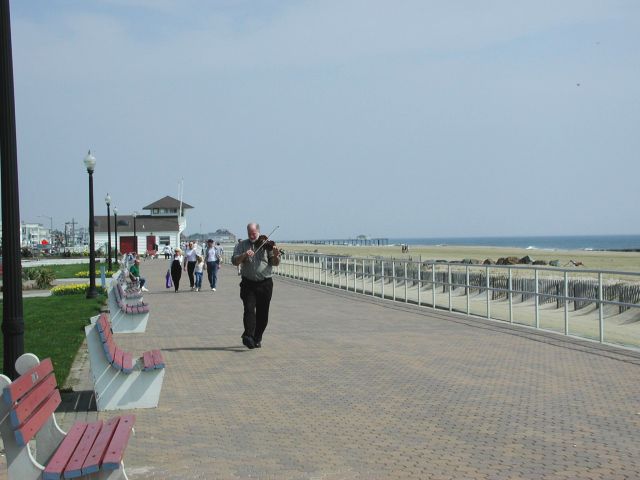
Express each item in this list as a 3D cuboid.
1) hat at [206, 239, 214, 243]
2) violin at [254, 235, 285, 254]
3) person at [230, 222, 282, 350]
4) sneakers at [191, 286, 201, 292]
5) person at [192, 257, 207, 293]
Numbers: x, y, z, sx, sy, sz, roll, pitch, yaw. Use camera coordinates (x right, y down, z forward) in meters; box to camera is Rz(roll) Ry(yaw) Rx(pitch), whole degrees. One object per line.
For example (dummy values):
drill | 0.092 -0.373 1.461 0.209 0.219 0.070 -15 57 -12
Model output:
hat | -4.559 0.069 23.654 0.167 0.104 0.239 -1 2 1
violin | -0.919 0.114 9.797 0.508 0.281 0.139 31 -1 6
person | -1.142 0.840 10.182 0.827 2.248 0.846 -1 1 -10
sneakers | -5.069 2.001 23.060 0.165 0.240 0.528 2 0 -7
person | -5.066 1.396 23.552 0.432 1.398 1.870 -1 0 -13
